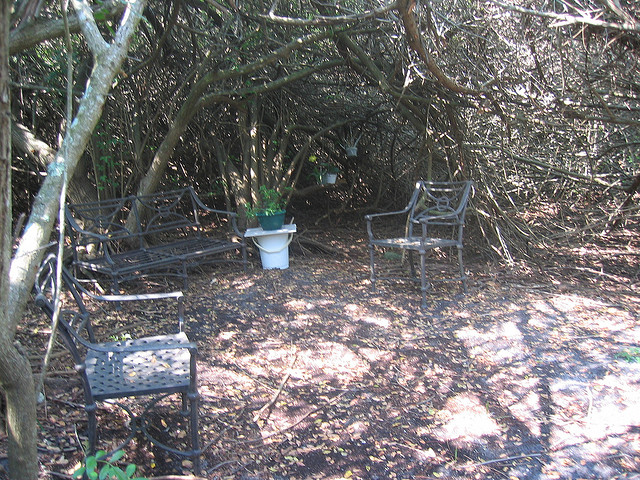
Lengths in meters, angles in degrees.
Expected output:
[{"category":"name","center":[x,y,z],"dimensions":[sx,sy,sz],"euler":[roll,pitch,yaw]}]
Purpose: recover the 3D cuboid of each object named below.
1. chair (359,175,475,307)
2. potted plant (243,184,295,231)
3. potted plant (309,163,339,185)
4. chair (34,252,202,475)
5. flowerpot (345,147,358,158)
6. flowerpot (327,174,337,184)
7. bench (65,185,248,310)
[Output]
[{"category":"chair","center":[0.881,-0.008,4.685],"dimensions":[0.862,1.140,0.949],"euler":[1,3,8]},{"category":"potted plant","center":[-0.579,-0.380,5.555],"dimensions":[0.465,0.505,0.535],"euler":[-1,-4,0]},{"category":"potted plant","center":[0.090,-0.871,6.901],"dimensions":[0.302,0.246,0.328],"euler":[-1,0,14]},{"category":"chair","center":[-1.138,0.699,2.921],"dimensions":[0.606,0.971,0.614],"euler":[-1,29,-10]},{"category":"flowerpot","center":[0.396,-1.083,6.467],"dimensions":[0.103,0.094,0.111],"euler":[-2,1,-13]},{"category":"flowerpot","center":[0.146,-0.790,6.754],"dimensions":[0.092,0.085,0.101],"euler":[2,19,6]},{"category":"bench","center":[-1.563,0.048,5.043],"dimensions":[1.452,0.905,0.766],"euler":[-9,-8,21]}]
